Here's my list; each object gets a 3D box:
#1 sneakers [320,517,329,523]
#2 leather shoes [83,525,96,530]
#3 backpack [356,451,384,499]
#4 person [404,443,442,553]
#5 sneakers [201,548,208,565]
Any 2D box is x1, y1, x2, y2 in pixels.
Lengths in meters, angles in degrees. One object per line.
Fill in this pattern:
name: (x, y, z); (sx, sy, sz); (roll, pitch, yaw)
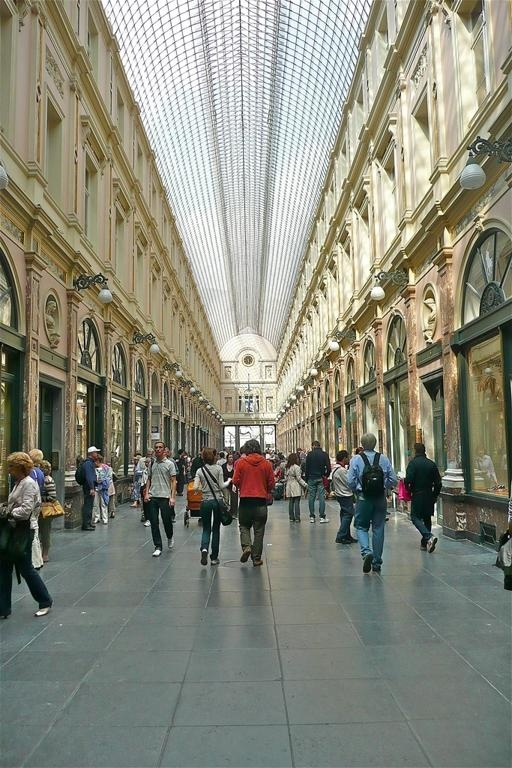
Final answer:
sneakers: (1.892, 3.735, 14.500); (0.259, 0.193, 0.128); (-3, 1, 14)
leather shoes: (-4.145, 3.557, 13.055); (0.285, 0.194, 0.125); (-5, -7, 14)
backpack: (1.656, 1.337, 7.480); (0.230, 0.672, 0.509); (0, -5, 2)
person: (2.828, 1.920, 8.924); (0.556, 1.805, 0.856); (-3, -7, 22)
sneakers: (-0.786, 2.632, 8.002); (0.068, 0.357, 0.178); (0, -2, 0)
